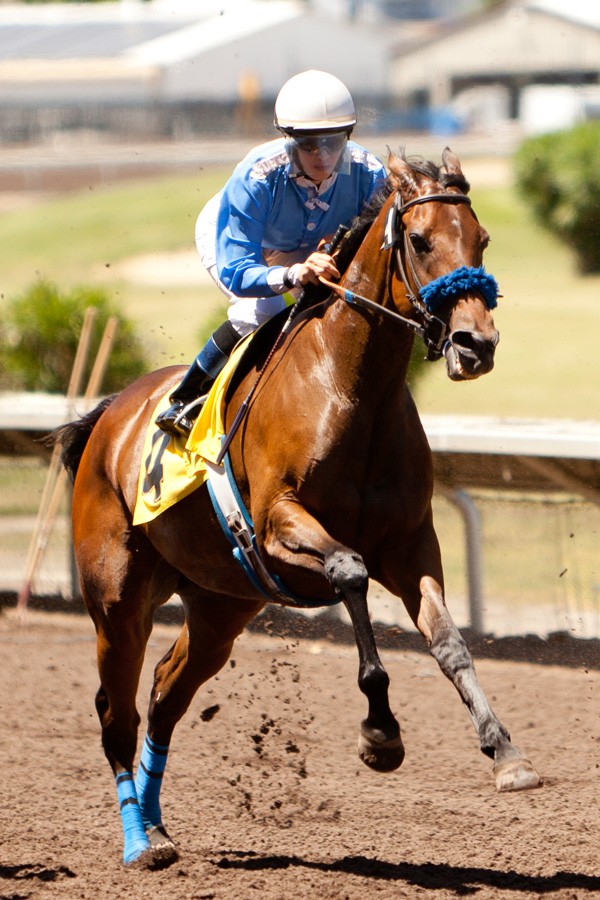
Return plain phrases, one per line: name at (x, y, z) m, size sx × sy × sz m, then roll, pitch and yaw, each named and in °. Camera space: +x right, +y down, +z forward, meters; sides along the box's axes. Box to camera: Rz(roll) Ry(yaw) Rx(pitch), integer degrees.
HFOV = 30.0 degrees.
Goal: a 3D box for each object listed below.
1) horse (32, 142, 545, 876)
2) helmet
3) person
horse at (-0.116, 0.256, 2.632) m, size 0.511 × 1.278 × 2.175 m, roll 3°, pitch -16°, yaw -29°
helmet at (0.031, -0.724, 2.371) m, size 0.176 × 0.105 × 0.212 m, roll -3°, pitch 20°, yaw 0°
person at (0.015, -0.410, 2.467) m, size 0.592 × 0.770 × 0.534 m, roll 11°, pitch 24°, yaw 19°
